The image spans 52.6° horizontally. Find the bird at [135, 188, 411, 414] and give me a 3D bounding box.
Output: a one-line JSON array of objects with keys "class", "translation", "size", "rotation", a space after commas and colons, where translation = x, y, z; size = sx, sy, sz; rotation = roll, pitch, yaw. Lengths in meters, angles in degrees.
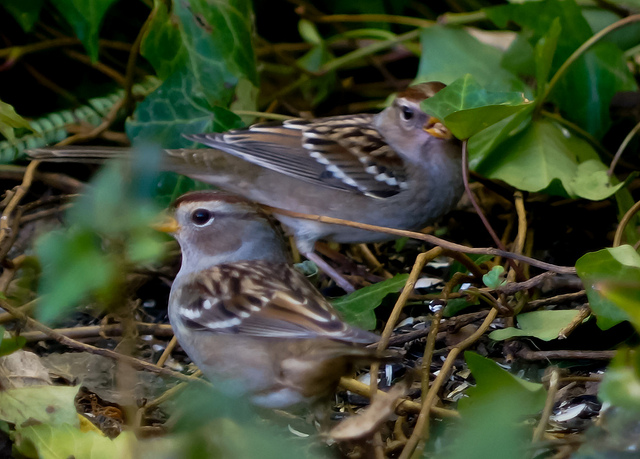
[{"class": "bird", "translation": [-0.050, 0.248, 2.459], "size": [0.767, 1.357, 0.703], "rotation": [-7, 100, -37]}]
